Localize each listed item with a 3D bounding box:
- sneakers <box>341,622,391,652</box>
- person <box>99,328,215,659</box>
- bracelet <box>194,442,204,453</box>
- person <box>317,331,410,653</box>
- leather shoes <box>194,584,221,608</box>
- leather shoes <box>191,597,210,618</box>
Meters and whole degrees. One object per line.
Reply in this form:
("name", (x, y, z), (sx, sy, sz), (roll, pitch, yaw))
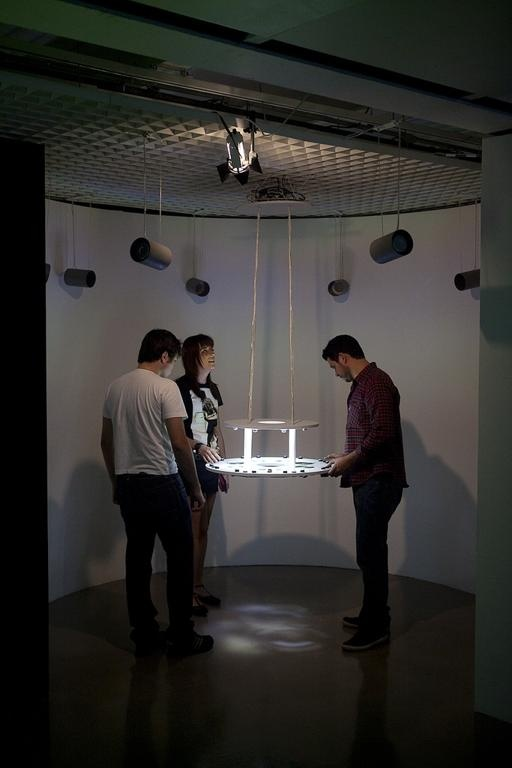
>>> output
("sneakers", (0.623, 1.452, 3.583), (0.292, 0.121, 0.100), (1, -6, -29))
("person", (-0.558, 0.595, 3.403), (0.618, 1.780, 0.401), (0, -3, 0))
("bracelet", (-0.375, 0.427, 4.092), (0.053, 0.073, 0.055), (2, 7, -15))
("person", (0.632, 0.609, 3.624), (0.465, 1.782, 0.516), (0, -3, 6))
("leather shoes", (-0.340, 1.462, 4.275), (0.214, 0.090, 0.081), (-3, -4, 44))
("leather shoes", (-0.367, 1.467, 4.139), (0.101, 0.101, 0.236), (0, 3, 2))
